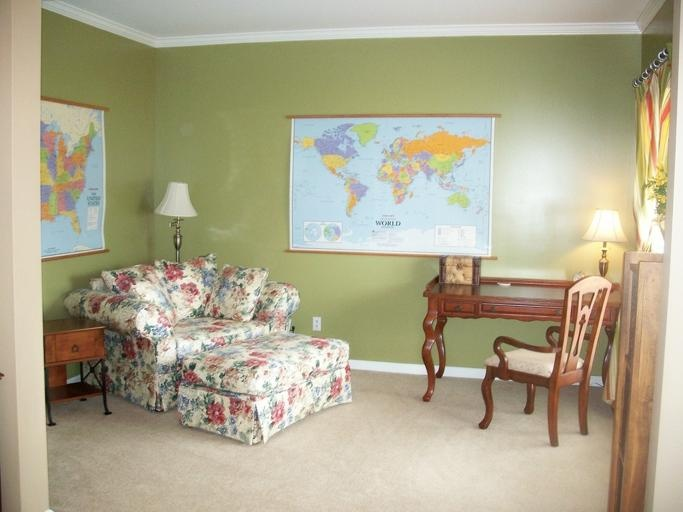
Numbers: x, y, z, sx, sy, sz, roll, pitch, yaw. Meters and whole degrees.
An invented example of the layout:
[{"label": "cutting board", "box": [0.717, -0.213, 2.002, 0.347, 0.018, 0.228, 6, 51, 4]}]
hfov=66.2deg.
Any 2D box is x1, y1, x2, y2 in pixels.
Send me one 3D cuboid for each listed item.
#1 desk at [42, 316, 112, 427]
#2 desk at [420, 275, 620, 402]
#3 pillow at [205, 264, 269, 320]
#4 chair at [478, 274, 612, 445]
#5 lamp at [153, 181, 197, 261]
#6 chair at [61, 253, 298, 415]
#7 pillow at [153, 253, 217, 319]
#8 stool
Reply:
[{"label": "desk", "box": [-2.094, 0.886, 4.064, 0.515, 0.646, 0.476, -2, -1, -36]}, {"label": "desk", "box": [1.490, 0.715, 4.411, 1.522, 0.972, 0.645, 2, 8, 20]}, {"label": "pillow", "box": [-0.913, 0.346, 4.654, 0.602, 0.593, 0.165, 1, -29, 32]}, {"label": "chair", "box": [1.494, 0.720, 3.903, 0.803, 1.169, 0.751, 2, 3, 34]}, {"label": "lamp", "box": [-1.614, -0.323, 5.213, 0.376, 0.817, 0.535, -3, 12, -14]}, {"label": "chair", "box": [-1.383, 0.583, 4.726, 0.988, 1.049, 1.714, 9, 8, 31]}, {"label": "pillow", "box": [-1.331, 0.276, 4.688, 0.536, 0.513, 0.160, -11, 0, -36]}, {"label": "stool", "box": [-0.581, 0.990, 4.245, 0.919, 0.543, 1.241, 4, 5, 35]}]
